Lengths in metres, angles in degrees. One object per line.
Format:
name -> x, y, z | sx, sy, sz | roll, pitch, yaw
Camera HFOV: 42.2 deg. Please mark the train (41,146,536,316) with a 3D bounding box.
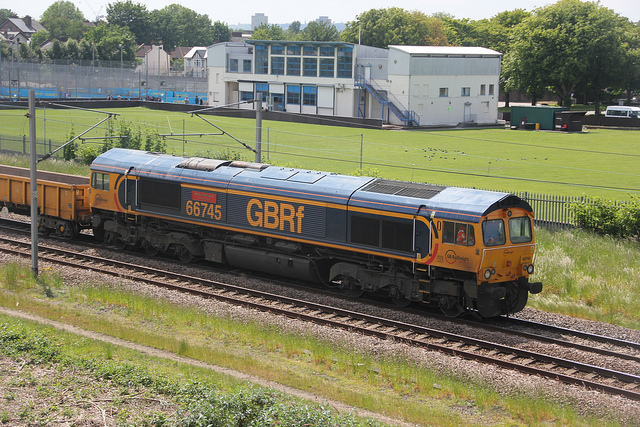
train -> -1.650, 0.172, 42.646 | 24.773, 4.736, 3.901 | 8, 12, 30
